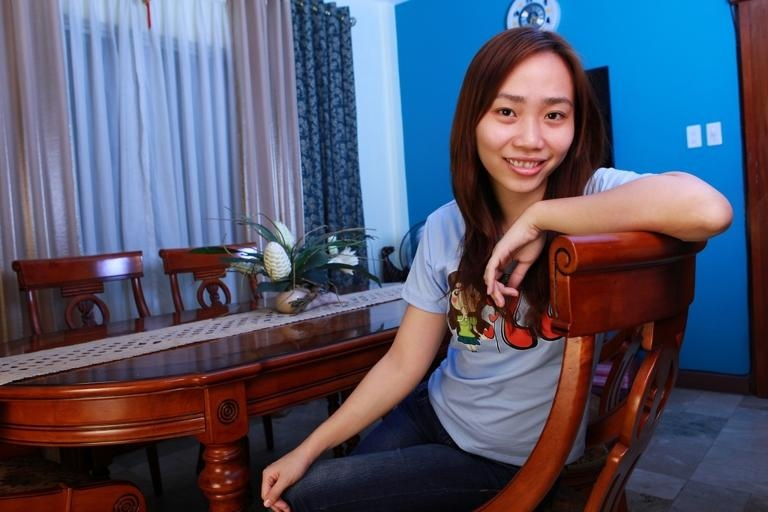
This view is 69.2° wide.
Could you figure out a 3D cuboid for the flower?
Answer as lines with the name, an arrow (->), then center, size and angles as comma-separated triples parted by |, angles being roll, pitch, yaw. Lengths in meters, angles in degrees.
flower -> -0.451, 0.016, 2.651 | 0.746, 0.325, 0.729 | 3, -2, -15
